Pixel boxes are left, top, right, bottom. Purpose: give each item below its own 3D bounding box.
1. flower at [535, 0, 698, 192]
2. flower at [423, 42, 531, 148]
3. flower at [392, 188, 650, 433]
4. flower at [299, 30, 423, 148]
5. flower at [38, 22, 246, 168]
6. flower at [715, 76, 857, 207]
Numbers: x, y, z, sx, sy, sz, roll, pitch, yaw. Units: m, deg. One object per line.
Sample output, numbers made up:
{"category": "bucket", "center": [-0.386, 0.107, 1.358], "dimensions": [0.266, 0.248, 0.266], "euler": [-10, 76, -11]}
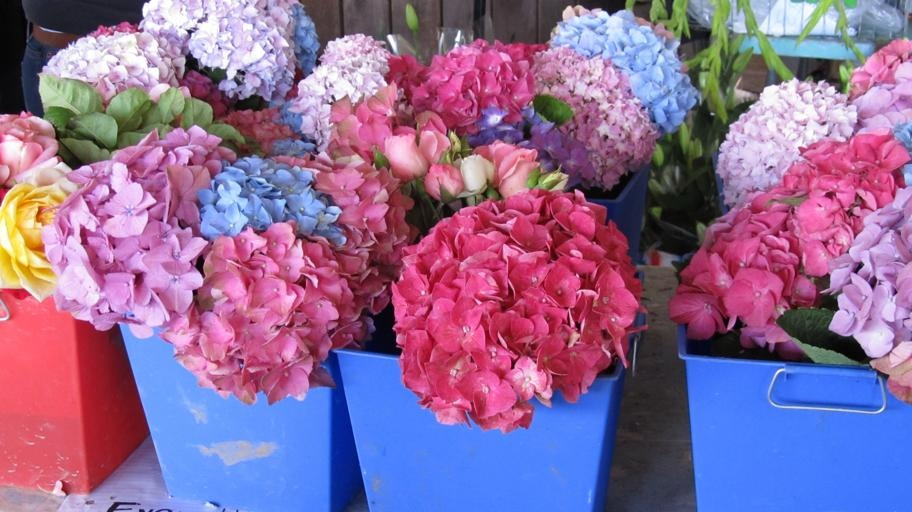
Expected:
{"category": "flower", "center": [0.352, -0.340, 1.641], "dimensions": [0.412, 0.402, 0.407], "euler": [-11, 8, -32]}
{"category": "flower", "center": [0.073, -0.321, 1.495], "dimensions": [0.216, 0.147, 0.211], "euler": [-25, 37, -16]}
{"category": "flower", "center": [0.131, 0.136, 1.274], "dimensions": [0.420, 0.284, 0.382], "euler": [-11, 61, 9]}
{"category": "flower", "center": [-0.236, -0.375, 1.607], "dimensions": [0.242, 0.248, 0.241], "euler": [-8, 72, 13]}
{"category": "flower", "center": [-0.619, -0.309, 1.419], "dimensions": [0.371, 0.190, 0.368], "euler": [1, 49, -24]}
{"category": "flower", "center": [0.679, -0.242, 1.495], "dimensions": [0.267, 0.228, 0.267], "euler": [-18, 29, 48]}
